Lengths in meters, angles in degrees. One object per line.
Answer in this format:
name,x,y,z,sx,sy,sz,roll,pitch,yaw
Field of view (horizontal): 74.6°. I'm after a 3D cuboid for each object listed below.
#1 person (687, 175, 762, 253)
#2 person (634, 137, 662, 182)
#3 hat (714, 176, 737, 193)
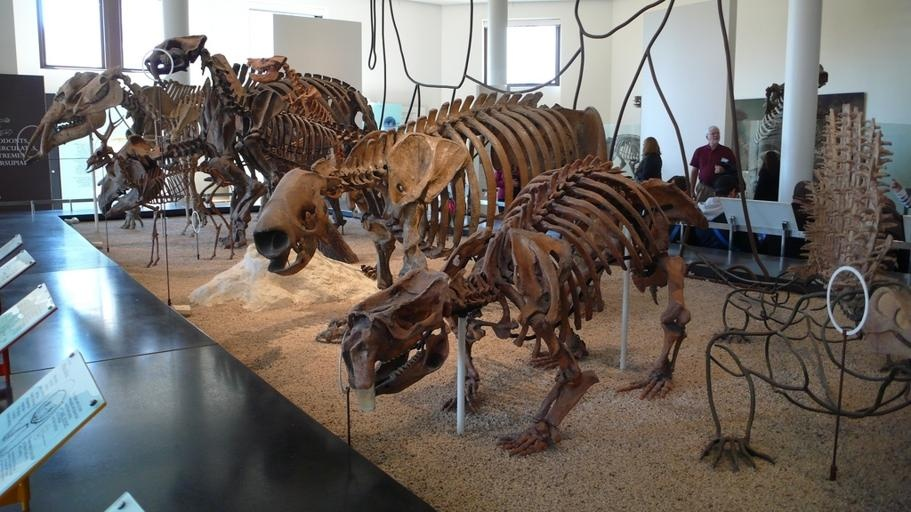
person,3.971,-0.648,9.137,0.632,1.196,1.034,3,13,18
person,2.927,-1.454,9.094,0.354,0.669,1.096,2,13,17
hat,4.075,-1.083,8.995,0.313,0.271,0.234,2,13,14
